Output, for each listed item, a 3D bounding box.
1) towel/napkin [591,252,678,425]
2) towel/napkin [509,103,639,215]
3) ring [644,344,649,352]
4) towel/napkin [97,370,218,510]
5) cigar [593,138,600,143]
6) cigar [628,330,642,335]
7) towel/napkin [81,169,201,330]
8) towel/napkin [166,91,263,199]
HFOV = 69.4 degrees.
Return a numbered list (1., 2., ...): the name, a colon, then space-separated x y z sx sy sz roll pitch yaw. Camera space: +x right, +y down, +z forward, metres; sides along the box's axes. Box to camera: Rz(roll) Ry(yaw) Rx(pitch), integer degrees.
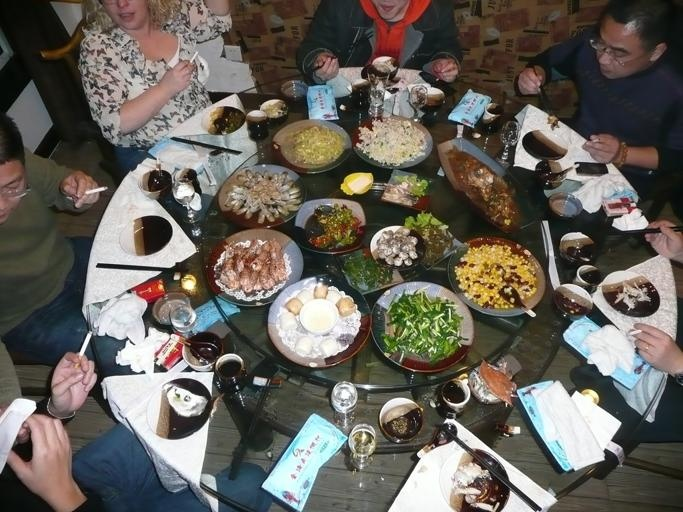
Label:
1. towel/napkin: 1.881 0.568 3.333 0.707 0.160 0.927 -11 71 -12
2. towel/napkin: 1.754 -0.741 3.843 0.773 0.073 1.052 -30 64 -21
3. ring: 1.821 0.561 2.956 0.021 0.017 0.041 21 45 9
4. towel/napkin: -1.034 1.106 2.964 0.655 0.487 0.824 -12 67 -9
5. cigar: 1.927 -0.868 3.740 0.057 0.013 0.031 -35 61 -27
6. cigar: 1.789 0.474 3.017 0.055 0.013 0.032 -14 71 8
7. towel/napkin: -1.317 -0.129 3.273 0.822 0.044 0.938 -16 59 -7
8. towel/napkin: -1.010 -0.794 3.744 0.697 0.033 0.766 -15 59 -8
